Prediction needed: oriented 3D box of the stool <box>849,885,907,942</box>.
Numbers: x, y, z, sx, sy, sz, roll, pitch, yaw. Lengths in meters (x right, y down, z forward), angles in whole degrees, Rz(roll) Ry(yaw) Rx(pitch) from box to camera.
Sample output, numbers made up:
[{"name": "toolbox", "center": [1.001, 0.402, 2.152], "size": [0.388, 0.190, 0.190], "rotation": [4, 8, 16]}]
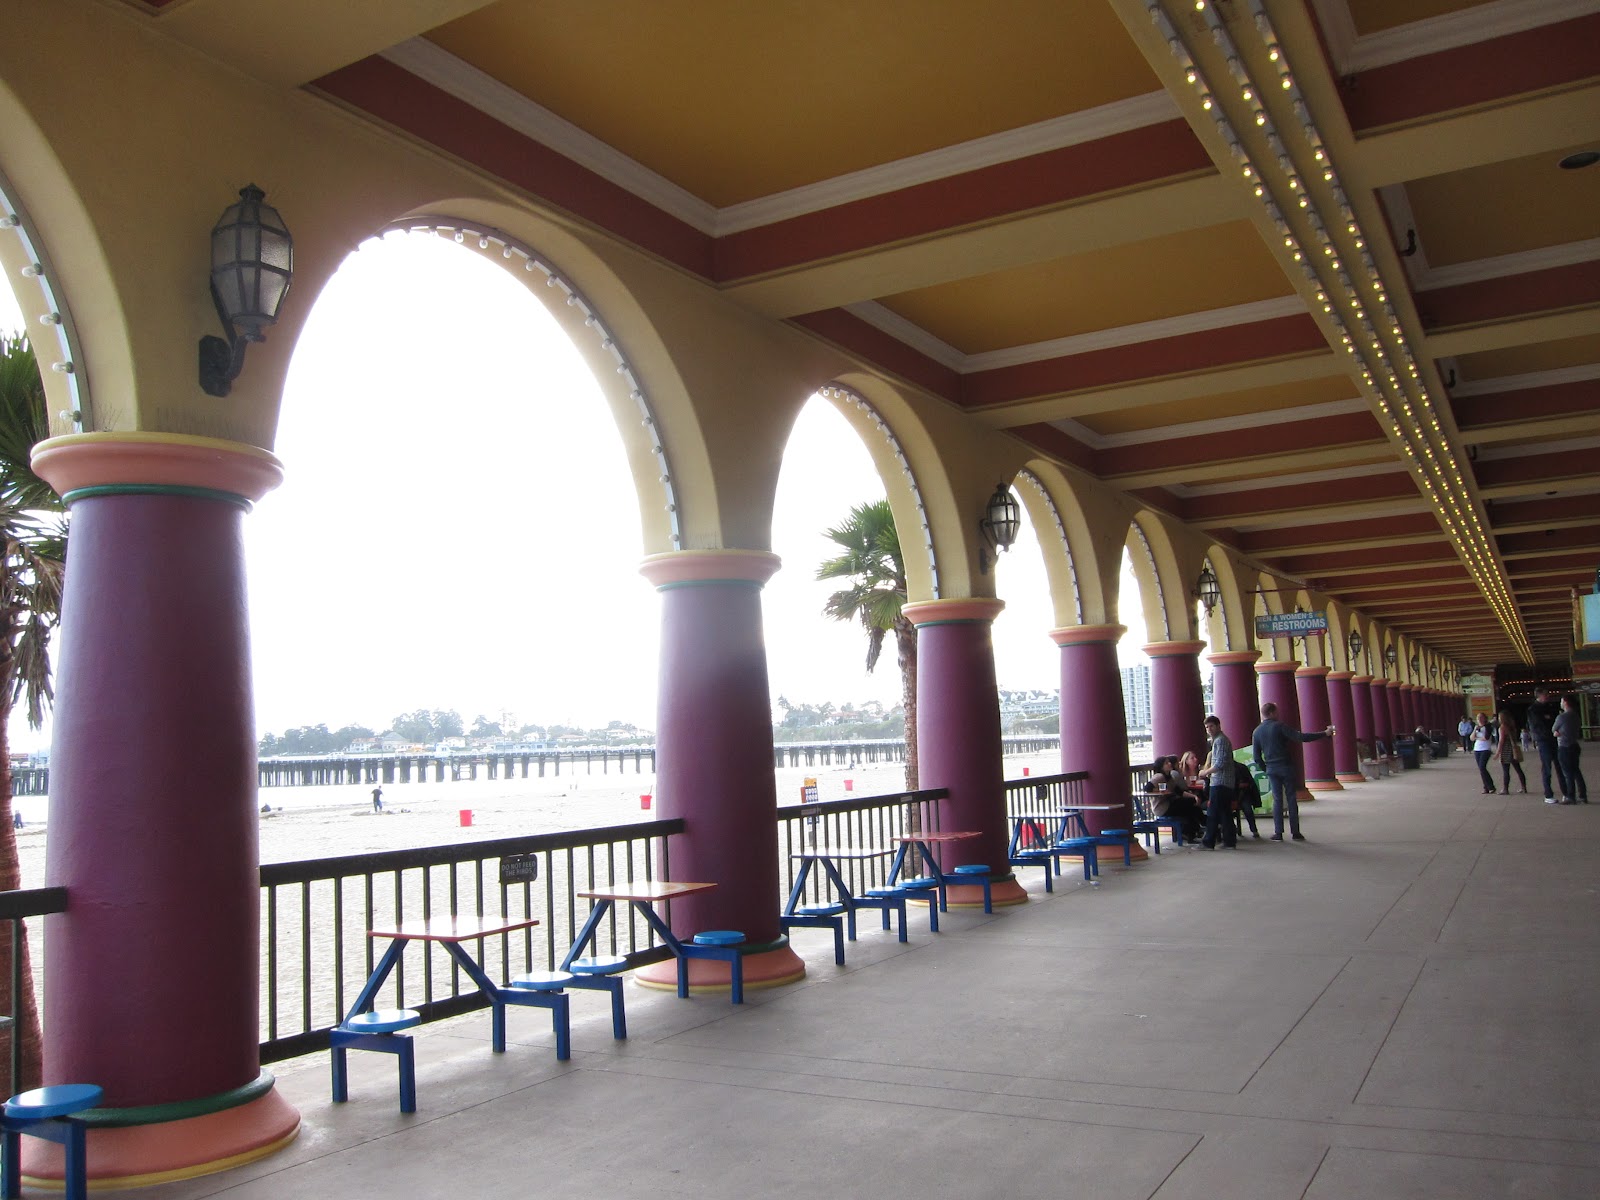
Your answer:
[{"name": "stool", "center": [0.669, 2.454, 9.576], "size": [0.560, 0.568, 0.587], "rotation": [-2, -20, 5]}]

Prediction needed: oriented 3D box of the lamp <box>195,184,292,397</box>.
[{"name": "lamp", "center": [-2.612, -1.474, 5.565], "size": [0.354, 1.015, 0.247], "rotation": [-5, -7, 23]}]

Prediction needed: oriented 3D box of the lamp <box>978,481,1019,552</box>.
[{"name": "lamp", "center": [2.031, -0.879, 11.878], "size": [0.352, 0.740, 0.572], "rotation": [-4, -7, 10]}]

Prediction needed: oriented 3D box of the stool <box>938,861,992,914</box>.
[{"name": "stool", "center": [1.537, 2.602, 10.828], "size": [0.451, 0.372, 0.463], "rotation": [-3, -5, 14]}]

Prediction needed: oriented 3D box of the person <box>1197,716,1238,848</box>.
[{"name": "person", "center": [5.534, 2.381, 15.546], "size": [0.675, 1.737, 0.702], "rotation": [1, -5, -2]}]

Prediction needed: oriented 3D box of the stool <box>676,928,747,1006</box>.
[{"name": "stool", "center": [-0.523, 2.413, 7.874], "size": [0.432, 0.450, 0.436], "rotation": [-7, -11, 33]}]

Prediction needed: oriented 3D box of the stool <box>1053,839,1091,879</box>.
[{"name": "stool", "center": [3.041, 2.834, 13.100], "size": [0.548, 0.427, 0.381], "rotation": [-2, -13, 10]}]

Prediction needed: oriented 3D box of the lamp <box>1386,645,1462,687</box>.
[{"name": "lamp", "center": [26.441, 2.639, 49.870], "size": [2.816, 0.734, 2.752], "rotation": [10, -4, -13]}]

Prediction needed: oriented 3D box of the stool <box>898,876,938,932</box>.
[{"name": "stool", "center": [1.064, 2.515, 9.975], "size": [0.447, 0.472, 0.445], "rotation": [-1, -12, 7]}]

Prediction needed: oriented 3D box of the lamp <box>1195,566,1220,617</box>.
[{"name": "lamp", "center": [6.573, -0.265, 18.941], "size": [0.293, 0.849, 1.108], "rotation": [-6, -7, 24]}]

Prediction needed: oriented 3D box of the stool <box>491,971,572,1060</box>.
[{"name": "stool", "center": [-1.470, 2.332, 6.707], "size": [0.410, 0.424, 0.429], "rotation": [-2, -17, 5]}]

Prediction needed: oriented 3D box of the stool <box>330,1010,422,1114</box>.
[{"name": "stool", "center": [-2.126, 2.280, 5.952], "size": [0.451, 0.494, 0.474], "rotation": [-3, -26, 3]}]

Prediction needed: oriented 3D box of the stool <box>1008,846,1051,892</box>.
[{"name": "stool", "center": [2.373, 2.628, 11.948], "size": [0.511, 0.434, 0.538], "rotation": [-1, -16, 5]}]

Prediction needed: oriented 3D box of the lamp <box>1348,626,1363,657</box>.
[{"name": "lamp", "center": [15.016, 1.067, 31.771], "size": [0.271, 0.873, 0.619], "rotation": [-2, -8, 40]}]

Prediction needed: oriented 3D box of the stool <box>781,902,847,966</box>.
[{"name": "stool", "center": [0.115, 2.481, 8.854], "size": [0.468, 0.440, 0.463], "rotation": [-3, -7, -1]}]
